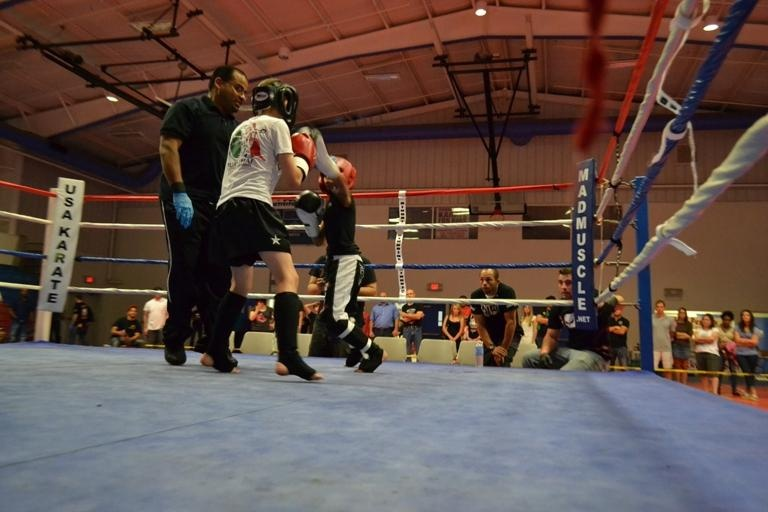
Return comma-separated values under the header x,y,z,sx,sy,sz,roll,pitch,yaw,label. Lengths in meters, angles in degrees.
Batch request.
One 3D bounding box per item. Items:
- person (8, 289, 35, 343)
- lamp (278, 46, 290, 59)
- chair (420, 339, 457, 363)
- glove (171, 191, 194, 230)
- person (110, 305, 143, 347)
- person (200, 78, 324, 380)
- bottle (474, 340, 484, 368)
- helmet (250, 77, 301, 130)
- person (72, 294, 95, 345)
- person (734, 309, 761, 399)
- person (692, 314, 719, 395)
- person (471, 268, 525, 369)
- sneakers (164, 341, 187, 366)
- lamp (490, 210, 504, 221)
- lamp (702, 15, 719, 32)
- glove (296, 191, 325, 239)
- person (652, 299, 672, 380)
x,y,z,sx,sy,sz,roll,pitch,yaw,label
-7.750,1.270,10.862,0.408,1.076,0.742,11,-13,-33,person
-2.095,-4.237,10.653,0.265,0.217,0.230,-2,-23,-3,lamp
0.538,0.978,5.335,0.333,0.260,0.303,-1,-10,23,chair
-1.144,-0.266,2.885,0.050,0.189,0.126,1,8,44,glove
-5.224,1.439,10.349,0.513,0.782,1.068,8,-11,-25,person
-0.657,-0.201,2.765,0.662,1.684,0.422,-5,-13,37,person
0.755,0.788,4.049,0.052,0.186,0.154,2,-10,10,bottle
-0.617,-0.892,2.930,0.275,0.263,0.307,0,2,24,helmet
-6.976,1.520,11.702,0.395,1.026,1.073,10,-12,-30,person
5.732,1.533,7.981,0.345,1.370,1.320,-4,-12,34,person
5.165,1.544,8.131,0.381,1.276,1.378,-4,-12,33,person
0.999,0.559,4.512,0.449,0.830,0.666,1,-10,13,person
-1.261,0.603,3.067,0.075,0.140,0.206,5,-25,-19,sneakers
2.923,-1.030,13.098,0.310,0.277,0.285,1,2,21,lamp
5.587,-3.953,8.691,0.295,0.196,0.280,6,-13,14,lamp
-0.439,-0.254,3.220,0.231,0.209,0.167,11,32,19,glove
4.893,1.421,8.873,0.319,1.210,0.771,-2,-12,28,person
